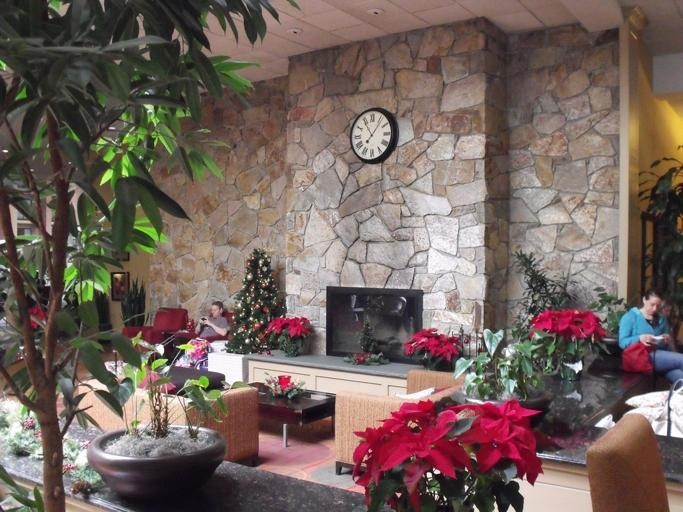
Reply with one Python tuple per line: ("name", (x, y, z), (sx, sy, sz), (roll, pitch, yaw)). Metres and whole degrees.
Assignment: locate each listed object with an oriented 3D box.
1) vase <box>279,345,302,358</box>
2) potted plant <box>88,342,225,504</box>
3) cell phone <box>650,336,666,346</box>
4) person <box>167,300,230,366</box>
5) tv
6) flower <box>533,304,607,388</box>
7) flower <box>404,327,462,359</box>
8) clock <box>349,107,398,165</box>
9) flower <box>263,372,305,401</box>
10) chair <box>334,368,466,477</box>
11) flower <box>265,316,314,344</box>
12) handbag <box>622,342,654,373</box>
("vase", (-0.630, 1.116, 6.495), (0.173, 0.081, 0.167), (-3, -6, 26))
("potted plant", (-0.597, 0.482, 1.952), (0.513, 0.437, 0.516), (-1, 0, -8))
("cell phone", (2.322, 0.618, 4.053), (0.097, 0.049, 0.140), (-2, -5, 28))
("person", (-1.825, 1.173, 7.364), (0.450, 1.187, 0.684), (-4, -13, 26))
("tv", (0.349, 0.777, 6.280), (1.175, 0.834, 0.043), (1, 0, 20))
("flower", (1.349, 0.495, 3.271), (0.305, 0.342, 0.350), (-1, -12, 9))
("flower", (0.918, 0.858, 5.408), (0.542, 0.318, 0.557), (1, -1, 11))
("clock", (0.373, -1.336, 6.129), (0.612, 0.635, 0.123), (-8, -11, 42))
("flower", (-0.565, 1.248, 5.238), (0.278, 0.132, 0.269), (2, -9, 14))
("chair", (0.367, 1.267, 4.576), (0.612, 0.732, 1.137), (4, 11, 15))
("flower", (-0.640, 0.851, 6.504), (0.372, 0.173, 0.366), (3, -3, -27))
("handbag", (2.144, 0.745, 3.998), (0.080, 0.202, 0.197), (18, -26, -36))
